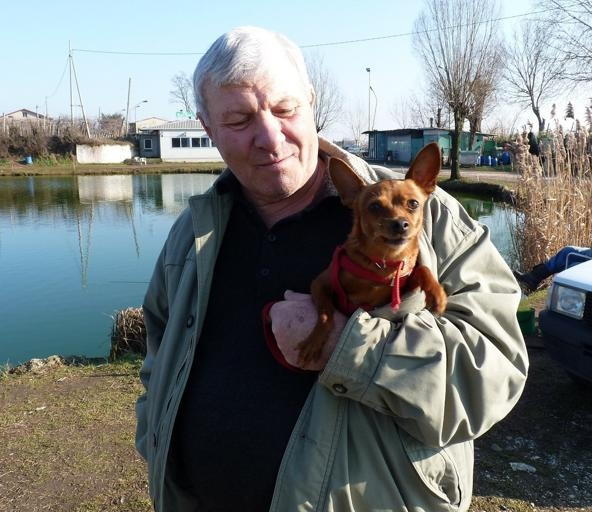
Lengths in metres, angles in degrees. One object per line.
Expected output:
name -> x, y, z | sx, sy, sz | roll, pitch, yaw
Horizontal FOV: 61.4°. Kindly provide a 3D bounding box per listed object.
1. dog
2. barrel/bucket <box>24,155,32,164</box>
dog -> 0.323, -0.036, 2.067 | 0.647, 0.829, 0.527 | -3, 9, 1
barrel/bucket -> -25.975, -9.241, 48.320 | 0.798, 1.023, 0.799 | -2, 0, 0
